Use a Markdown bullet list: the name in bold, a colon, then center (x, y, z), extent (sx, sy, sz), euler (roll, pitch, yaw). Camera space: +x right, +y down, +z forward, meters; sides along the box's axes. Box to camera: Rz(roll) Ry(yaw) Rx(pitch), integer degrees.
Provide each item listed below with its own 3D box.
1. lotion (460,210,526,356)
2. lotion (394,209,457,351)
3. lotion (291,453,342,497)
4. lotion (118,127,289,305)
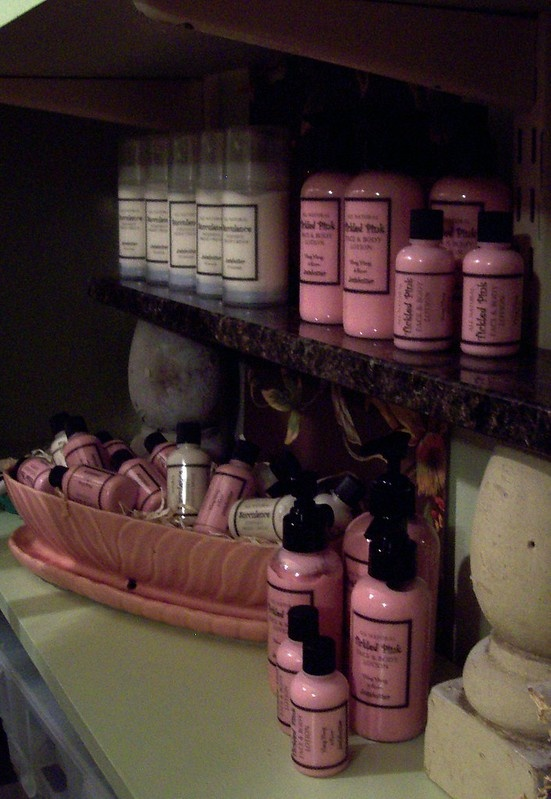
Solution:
- **lotion**: center (0.134, -0.071, 0.432), extent (0.033, 0.084, 0.106), euler (1, 8, 15)
- **lotion**: center (0.091, -0.071, 0.421), extent (0.036, 0.084, 0.032), euler (1, 9, 9)
- **lotion**: center (0.044, 0.076, 0.690), extent (0.018, 0.029, 0.065), euler (-22, -13, -10)
- **lotion**: center (-0.068, -0.180, 0.681), extent (0.077, 0.130, 0.222), euler (-9, 14, -34)
